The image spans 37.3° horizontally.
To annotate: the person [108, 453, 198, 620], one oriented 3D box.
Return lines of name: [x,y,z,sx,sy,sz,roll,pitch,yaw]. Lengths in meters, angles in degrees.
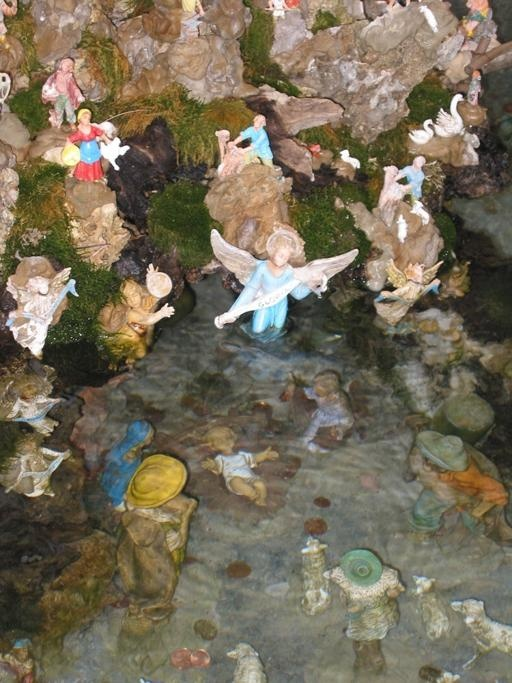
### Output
person: [-1.163,2.332,9.050,1.052,0.466,1.600,-3,85,9]

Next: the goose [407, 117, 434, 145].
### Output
goose: [2.260,-2.827,10.385,0.419,0.365,0.242,-12,61,-9]
